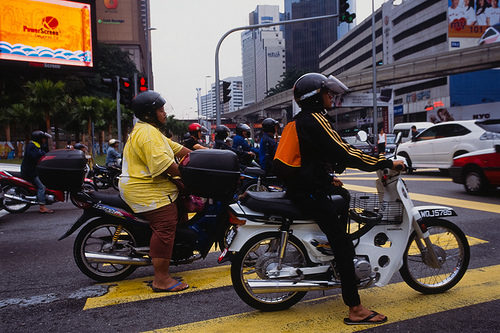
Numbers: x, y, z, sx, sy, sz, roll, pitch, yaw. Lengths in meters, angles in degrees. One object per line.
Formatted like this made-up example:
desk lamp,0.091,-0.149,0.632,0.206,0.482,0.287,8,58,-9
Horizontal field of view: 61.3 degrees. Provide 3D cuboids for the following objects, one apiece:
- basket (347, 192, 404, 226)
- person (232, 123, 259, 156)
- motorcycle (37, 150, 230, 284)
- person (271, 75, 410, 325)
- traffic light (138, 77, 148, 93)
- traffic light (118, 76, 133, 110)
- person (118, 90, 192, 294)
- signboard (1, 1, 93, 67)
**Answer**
basket,1.757,0.573,5.975,0.453,0.581,0.859,-7,-12,28
person,-0.238,-0.805,11.887,0.904,0.950,0.592,2,3,-12
motorcycle,-1.776,0.771,7.121,3.113,2.013,1.623,-1,3,-6
person,1.052,0.395,5.565,1.475,3.082,1.094,-1,15,3
traffic light,-3.867,-2.966,15.304,0.443,0.425,0.110,3,7,-9
traffic light,-4.575,-2.707,15.636,0.482,1.175,0.700,-6,15,-16
person,-1.411,0.399,6.242,0.978,2.887,1.039,-6,15,-18
signboard,-16.758,-10.664,34.165,6.366,4.630,0.679,1,-5,-45
